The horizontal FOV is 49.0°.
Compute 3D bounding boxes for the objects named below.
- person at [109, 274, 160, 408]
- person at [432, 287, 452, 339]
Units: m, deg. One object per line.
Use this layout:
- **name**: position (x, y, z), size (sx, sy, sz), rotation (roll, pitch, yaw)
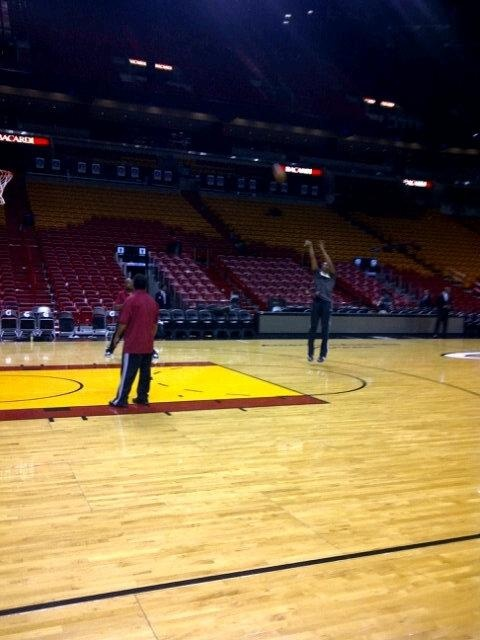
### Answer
- **person**: position (-0.964, 0.287, 4.778), size (0.415, 1.026, 0.293), rotation (1, 10, -10)
- **person**: position (5.699, -0.222, 14.864), size (0.390, 1.417, 1.486), rotation (6, 9, 20)
